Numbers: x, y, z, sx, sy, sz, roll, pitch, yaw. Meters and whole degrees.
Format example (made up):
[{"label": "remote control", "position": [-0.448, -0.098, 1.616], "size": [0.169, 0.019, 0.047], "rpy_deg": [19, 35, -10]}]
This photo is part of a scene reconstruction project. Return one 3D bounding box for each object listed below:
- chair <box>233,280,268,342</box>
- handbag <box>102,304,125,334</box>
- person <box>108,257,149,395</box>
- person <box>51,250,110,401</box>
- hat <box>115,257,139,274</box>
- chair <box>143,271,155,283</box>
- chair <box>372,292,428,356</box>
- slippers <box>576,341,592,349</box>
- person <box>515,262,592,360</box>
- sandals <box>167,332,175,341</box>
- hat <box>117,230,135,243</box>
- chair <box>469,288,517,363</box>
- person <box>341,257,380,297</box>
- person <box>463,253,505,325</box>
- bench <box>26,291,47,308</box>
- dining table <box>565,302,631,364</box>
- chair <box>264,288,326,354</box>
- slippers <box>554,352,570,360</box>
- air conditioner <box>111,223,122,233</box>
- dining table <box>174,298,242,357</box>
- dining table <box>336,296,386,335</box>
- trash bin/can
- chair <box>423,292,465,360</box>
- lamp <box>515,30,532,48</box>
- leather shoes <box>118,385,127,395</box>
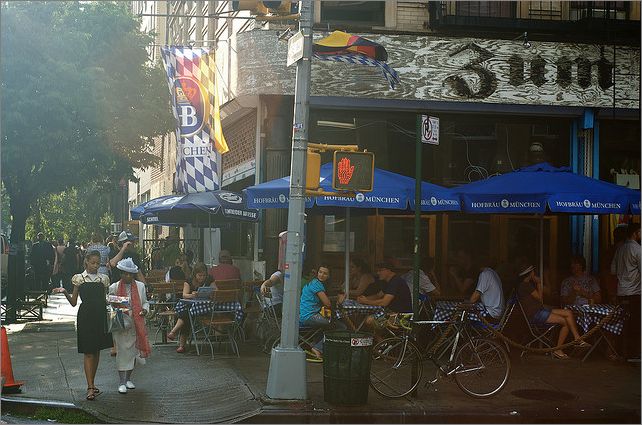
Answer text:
[{"label": "chair", "position": [-1.882, 2.565, 24.457], "size": [0.910, 1.439, 1.134], "rpy_deg": [6, 26, 0]}, {"label": "handbag", "position": [-4.512, 2.262, 19.518], "size": [0.637, 0.708, 0.325], "rpy_deg": [-2, 5, -5]}, {"label": "person", "position": [-4.213, 2.468, 19.824], "size": [0.814, 2.856, 0.494], "rpy_deg": [-1, 2, -13]}, {"label": "person", "position": [-5.017, 2.380, 19.594], "size": [0.896, 3.127, 0.849], "rpy_deg": [-1, 2, -15]}, {"label": "hat", "position": [-4.281, 1.164, 20.015], "size": [0.377, 0.176, 0.364], "rpy_deg": [14, 3, -5]}, {"label": "chair", "position": [-5.224, 1.953, 27.646], "size": [0.364, 0.214, 0.341], "rpy_deg": [0, -9, -7]}, {"label": "chair", "position": [1.806, 2.316, 21.409], "size": [1.161, 1.923, 1.444], "rpy_deg": [9, -23, 7]}, {"label": "slippers", "position": [6.408, 3.194, 21.998], "size": [0.226, 0.127, 0.397], "rpy_deg": [0, -5, -5]}, {"label": "person", "position": [5.577, 2.412, 22.076], "size": [1.605, 2.333, 0.923], "rpy_deg": [0, 2, -1]}, {"label": "sandals", "position": [-3.871, 3.152, 23.325], "size": [0.162, 0.161, 0.453], "rpy_deg": [1, -13, -2]}, {"label": "hat", "position": [-7.448, 0.913, 34.571], "size": [0.976, 0.494, 0.645], "rpy_deg": [-3, -2, 39]}, {"label": "chair", "position": [4.346, 2.502, 21.312], "size": [1.505, 1.893, 1.416], "rpy_deg": [1, -5, 0]}, {"label": "person", "position": [0.988, 1.669, 22.928], "size": [0.886, 0.936, 0.765], "rpy_deg": [-3, -6, -2]}, {"label": "person", "position": [3.898, 1.853, 22.164], "size": [1.125, 1.577, 1.227], "rpy_deg": [10, -8, -25]}, {"label": "bench", "position": [-8.842, 2.641, 27.961], "size": [0.812, 0.355, 0.524], "rpy_deg": [1, 3, -28]}, {"label": "dining table", "position": [7.005, 2.943, 22.853], "size": [1.717, 1.454, 1.439], "rpy_deg": [3, 6, 4]}, {"label": "chair", "position": [-0.640, 2.571, 23.022], "size": [1.684, 2.074, 1.316], "rpy_deg": [0, -3, -9]}, {"label": "slippers", "position": [5.992, 3.486, 22.320], "size": [0.388, 0.146, 0.242], "rpy_deg": [1, 1, 11]}, {"label": "air conditioner", "position": [-11.036, 0.822, 48.277], "size": [0.744, 0.667, 0.730], "rpy_deg": [0, 3, -2]}, {"label": "dining table", "position": [-2.934, 2.982, 23.175], "size": [1.578, 1.251, 1.415], "rpy_deg": [3, -10, -17]}, {"label": "dining table", "position": [0.936, 2.454, 21.972], "size": [0.906, 0.583, 1.209], "rpy_deg": [2, -3, -8]}, {"label": "trash bin/can", "position": [0.560, 3.246, 18.958], "size": [1.419, 1.479, 1.323], "rpy_deg": [2, -4, -11]}, {"label": "chair", "position": [2.897, 2.778, 21.747], "size": [1.093, 1.481, 1.216], "rpy_deg": [7, 7, 20]}, {"label": "lamp", "position": [5.855, -4.877, 25.675], "size": [0.488, 0.482, 0.444], "rpy_deg": [0, 5, -19]}, {"label": "leather shoes", "position": [-4.324, 3.812, 19.699], "size": [0.207, 0.177, 0.234], "rpy_deg": [0, 1, -15]}]
